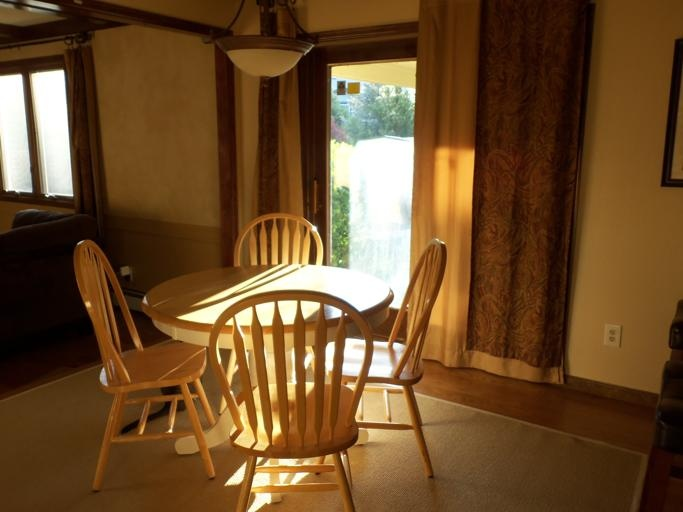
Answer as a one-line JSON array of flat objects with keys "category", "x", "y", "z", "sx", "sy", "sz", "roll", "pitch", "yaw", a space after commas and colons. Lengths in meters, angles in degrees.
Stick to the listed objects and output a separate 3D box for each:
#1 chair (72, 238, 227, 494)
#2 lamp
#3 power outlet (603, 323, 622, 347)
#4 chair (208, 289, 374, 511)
[{"category": "chair", "x": -1.102, "y": 0.522, "z": 3.201, "sx": 0.681, "sy": 1.297, "sz": 0.927, "roll": -1, "pitch": 14, "yaw": -16}, {"category": "lamp", "x": -0.337, "y": -1.248, "z": 3.161, "sx": 0.486, "sy": 0.473, "sz": 1.086, "roll": 5, "pitch": 13, "yaw": 8}, {"category": "power outlet", "x": 1.836, "y": 0.527, "z": 3.720, "sx": 0.124, "sy": 0.212, "sz": 0.020, "roll": 7, "pitch": 8, "yaw": 42}, {"category": "chair", "x": -0.263, "y": 0.694, "z": 2.702, "sx": 0.701, "sy": 1.284, "sz": 0.758, "roll": 1, "pitch": 13, "yaw": -8}]
